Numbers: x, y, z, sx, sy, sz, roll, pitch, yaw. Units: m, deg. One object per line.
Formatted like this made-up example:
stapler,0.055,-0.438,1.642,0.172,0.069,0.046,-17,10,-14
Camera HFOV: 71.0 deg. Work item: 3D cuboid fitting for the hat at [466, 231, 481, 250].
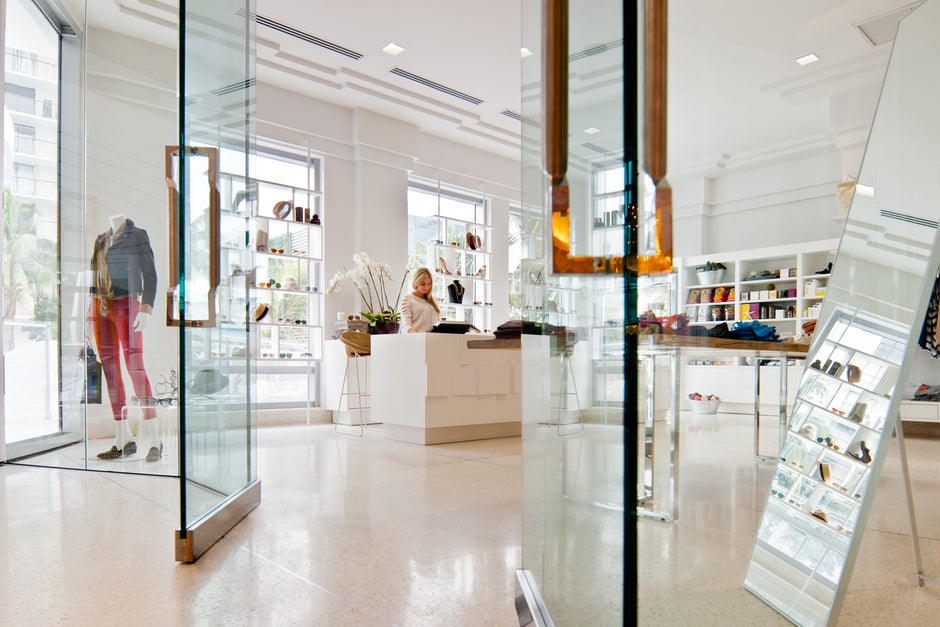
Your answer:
hat,0.027,-0.941,8.505,0.071,0.213,0.217,-13,-12,30

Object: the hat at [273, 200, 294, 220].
hat,-1.944,-1.071,6.788,0.214,0.091,0.164,-7,1,19

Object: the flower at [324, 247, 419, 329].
flower,-0.981,-0.277,7.009,0.852,1.028,0.801,-7,-7,37

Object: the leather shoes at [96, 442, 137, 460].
leather shoes,-2.243,0.857,4.138,0.270,0.110,0.102,-2,-6,1

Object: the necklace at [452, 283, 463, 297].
necklace,-0.158,-0.293,8.139,0.061,0.149,0.153,-10,-2,37

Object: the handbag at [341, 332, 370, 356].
handbag,-1.022,0.273,5.914,0.251,0.088,0.248,6,-13,-1

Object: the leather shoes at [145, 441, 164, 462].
leather shoes,-1.965,0.860,4.058,0.063,0.050,0.128,-1,0,-1

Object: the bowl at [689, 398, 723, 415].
bowl,0.795,0.313,2.235,0.096,0.034,0.097,0,-6,0

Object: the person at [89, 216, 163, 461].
person,-2.254,0.137,4.243,0.532,1.544,0.292,0,-2,19

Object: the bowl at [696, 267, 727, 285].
bowl,0.719,-0.109,1.975,0.084,0.038,0.084,-1,-5,0

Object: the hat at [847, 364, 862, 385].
hat,1.146,0.181,1.959,0.043,0.053,0.046,3,-21,38
